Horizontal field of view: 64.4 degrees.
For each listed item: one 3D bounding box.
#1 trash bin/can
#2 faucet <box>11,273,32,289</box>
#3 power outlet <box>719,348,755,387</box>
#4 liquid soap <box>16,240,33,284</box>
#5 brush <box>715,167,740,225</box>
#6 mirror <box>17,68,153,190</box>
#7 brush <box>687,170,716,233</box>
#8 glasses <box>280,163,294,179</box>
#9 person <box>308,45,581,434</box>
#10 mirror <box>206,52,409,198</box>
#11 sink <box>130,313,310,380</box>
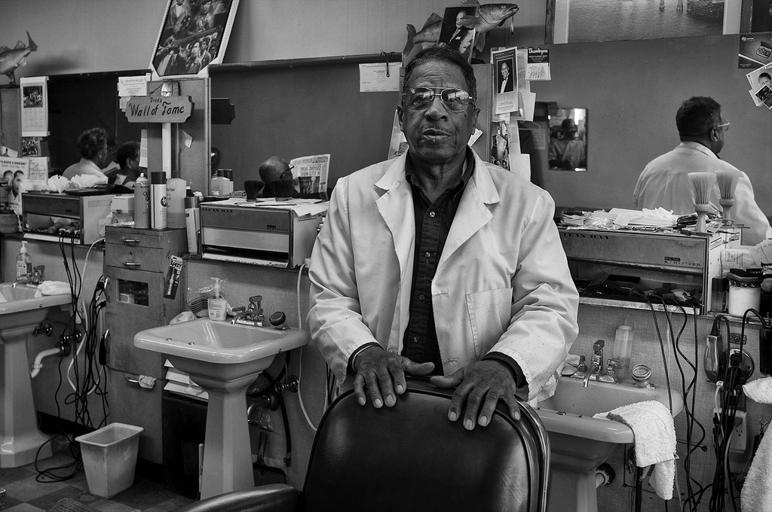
[{"bbox_3d":[-1.746,1.306,3.915,0.264,0.393,0.348,5,8,29],"label":"trash bin/can"},{"bbox_3d":[-2.656,0.181,4.485,0.076,0.080,0.042,13,28,-9],"label":"faucet"},{"bbox_3d":[1.623,0.510,2.829,0.160,0.175,0.073,-1,7,-13],"label":"power outlet"},{"bbox_3d":[-2.678,0.037,4.546,0.102,0.293,0.254,-3,8,-32],"label":"liquid soap"},{"bbox_3d":[1.773,-0.302,3.207,0.109,0.248,0.107,1,6,-5],"label":"brush"},{"bbox_3d":[-2.367,-1.007,4.903,1.099,1.194,0.056,0,-2,26],"label":"mirror"},{"bbox_3d":[1.561,-0.277,3.058,0.134,0.283,0.400,4,8,27],"label":"brush"},{"bbox_3d":[-0.605,-0.526,3.787,0.087,0.107,0.118,0,9,3],"label":"glasses"},{"bbox_3d":[0.217,-0.140,2.326,1.011,1.320,0.606,0,7,-9],"label":"person"},{"bbox_3d":[-0.487,-0.865,3.993,1.140,0.884,0.123,0,2,19],"label":"mirror"},{"bbox_3d":[-0.894,0.513,3.361,0.777,0.212,0.525,4,8,22],"label":"sink"}]
